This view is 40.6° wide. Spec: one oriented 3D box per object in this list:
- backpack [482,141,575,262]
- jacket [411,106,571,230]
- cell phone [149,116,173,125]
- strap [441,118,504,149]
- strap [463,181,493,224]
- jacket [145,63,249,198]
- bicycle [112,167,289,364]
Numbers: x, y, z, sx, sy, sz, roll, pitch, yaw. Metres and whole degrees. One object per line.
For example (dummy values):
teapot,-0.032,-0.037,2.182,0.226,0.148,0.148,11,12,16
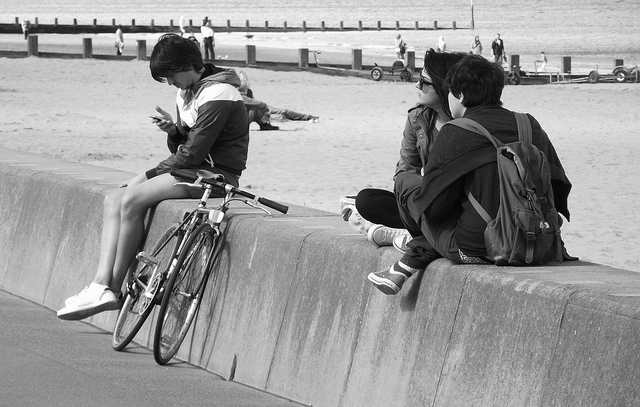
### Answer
backpack,1.187,0.003,5.076,0.533,0.717,0.272,-5,15,-31
jacket,0.958,-0.203,5.188,1.083,0.812,0.527,-3,2,-4
cell phone,-1.216,-0.659,6.705,0.180,0.034,0.026,29,-20,-16
strap,0.853,-0.412,5.136,0.289,0.231,0.203,12,-3,-19
strap,0.898,-0.009,5.071,0.221,0.052,0.162,42,2,-2
jacket,-1.055,-0.589,6.806,0.998,0.988,0.862,3,14,-7
bicycle,-0.970,0.379,6.583,1.002,1.178,1.904,24,-7,-3
